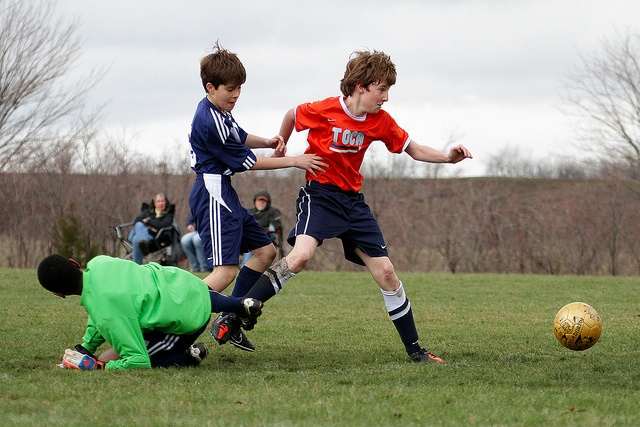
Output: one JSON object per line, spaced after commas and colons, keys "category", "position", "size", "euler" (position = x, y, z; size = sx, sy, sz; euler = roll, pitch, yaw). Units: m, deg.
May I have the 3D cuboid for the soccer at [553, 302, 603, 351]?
{"category": "soccer", "position": [3.273, 1.414, 10.632], "size": [0.587, 0.686, 0.596], "euler": [2, 30, 18]}

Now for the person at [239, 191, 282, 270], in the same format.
{"category": "person", "position": [-1.178, 0.370, 16.145], "size": [0.817, 1.596, 0.778], "euler": [1, -2, -11]}

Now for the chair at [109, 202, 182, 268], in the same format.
{"category": "chair", "position": [-3.329, 0.463, 16.148], "size": [0.991, 1.218, 0.959], "euler": [5, 6, 14]}

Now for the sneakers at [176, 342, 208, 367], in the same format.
{"category": "sneakers", "position": [-1.508, 1.661, 10.013], "size": [0.200, 0.279, 0.215], "euler": [30, -2, 46]}

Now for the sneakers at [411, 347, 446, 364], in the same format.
{"category": "sneakers", "position": [1.331, 1.690, 10.227], "size": [0.440, 0.191, 0.148], "euler": [2, 8, 11]}

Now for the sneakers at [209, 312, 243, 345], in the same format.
{"category": "sneakers", "position": [-1.142, 1.343, 10.129], "size": [0.259, 0.206, 0.561], "euler": [-16, 14, 33]}

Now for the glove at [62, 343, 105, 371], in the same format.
{"category": "glove", "position": [-2.768, 1.664, 9.800], "size": [0.377, 0.177, 0.275], "euler": [9, -2, 37]}

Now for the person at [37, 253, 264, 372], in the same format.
{"category": "person", "position": [-2.043, 1.182, 10.289], "size": [2.707, 1.152, 1.506], "euler": [2, 17, -33]}
